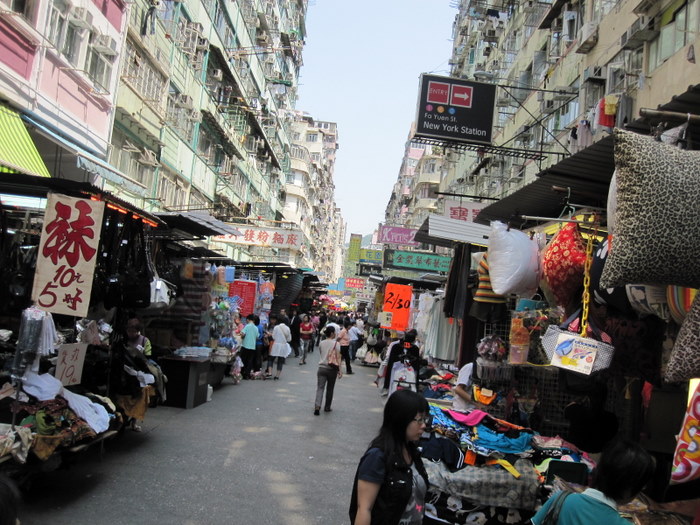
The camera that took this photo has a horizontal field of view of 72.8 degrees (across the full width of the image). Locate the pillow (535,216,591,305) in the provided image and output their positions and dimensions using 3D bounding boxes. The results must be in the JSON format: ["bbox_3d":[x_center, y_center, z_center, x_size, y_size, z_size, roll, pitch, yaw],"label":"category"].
[{"bbox_3d":[1.806,-0.002,4.054,0.341,0.646,0.634,13,-10,-1],"label":"pillow"}]

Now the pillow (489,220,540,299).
[{"bbox_3d":[1.631,-0.038,4.652,0.485,0.697,0.236,4,-7,13],"label":"pillow"}]

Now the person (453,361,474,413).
[{"bbox_3d":[1.674,1.811,6.950,0.260,0.705,0.906,3,-7,13],"label":"person"}]

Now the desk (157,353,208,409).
[{"bbox_3d":[-3.899,2.862,11.290,0.837,1.082,1.140,5,-8,-3],"label":"desk"}]

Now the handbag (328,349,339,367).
[{"bbox_3d":[-0.362,2.366,11.694,0.302,0.425,0.210,8,-8,-22],"label":"handbag"}]
